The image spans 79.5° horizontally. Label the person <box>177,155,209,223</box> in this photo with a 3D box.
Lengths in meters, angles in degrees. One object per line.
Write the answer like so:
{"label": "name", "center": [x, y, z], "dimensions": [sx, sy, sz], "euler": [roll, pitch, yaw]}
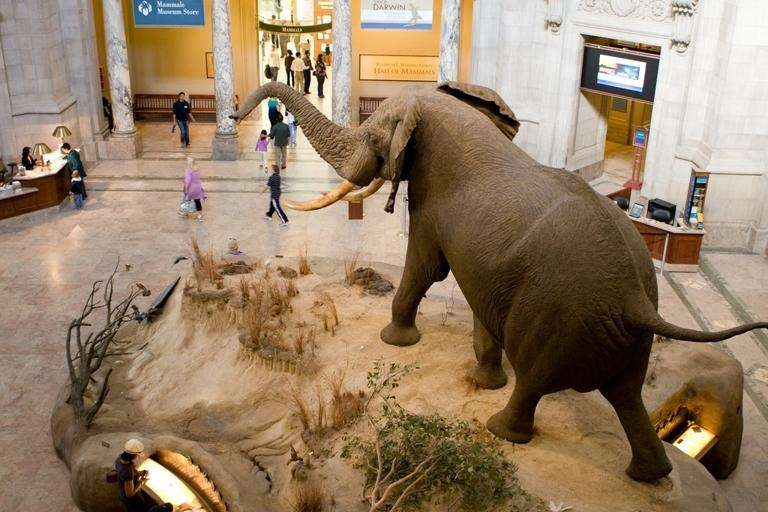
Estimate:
{"label": "person", "center": [-5.687, -1.947, 13.379], "dimensions": [0.693, 1.698, 0.902], "euler": [-11, 23, -27]}

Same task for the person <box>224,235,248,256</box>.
{"label": "person", "center": [-3.465, -0.232, 10.579], "dimensions": [0.484, 0.398, 0.794], "euler": [-7, 25, -10]}

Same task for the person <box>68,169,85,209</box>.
{"label": "person", "center": [-9.511, -2.102, 14.162], "dimensions": [0.372, 1.136, 0.775], "euler": [-14, 24, -33]}

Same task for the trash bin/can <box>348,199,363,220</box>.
{"label": "trash bin/can", "center": [-0.759, -1.408, 13.641], "dimensions": [0.548, 0.676, 0.560], "euler": [1, 16, 4]}
